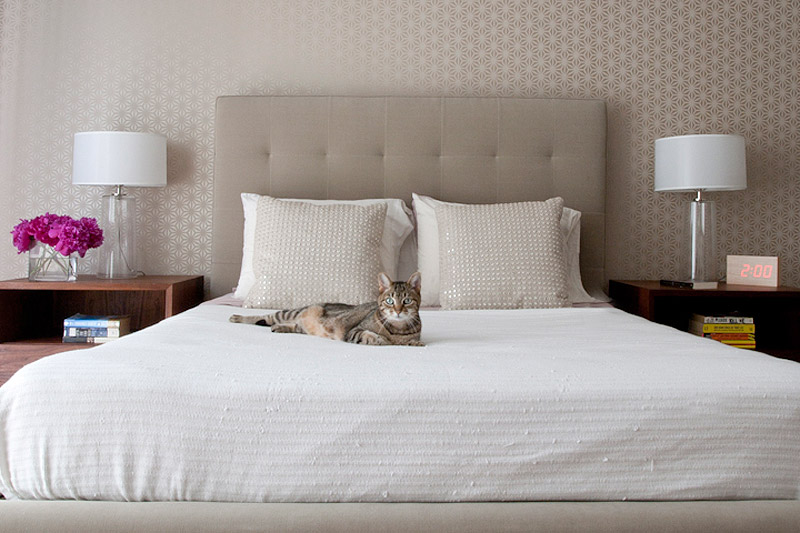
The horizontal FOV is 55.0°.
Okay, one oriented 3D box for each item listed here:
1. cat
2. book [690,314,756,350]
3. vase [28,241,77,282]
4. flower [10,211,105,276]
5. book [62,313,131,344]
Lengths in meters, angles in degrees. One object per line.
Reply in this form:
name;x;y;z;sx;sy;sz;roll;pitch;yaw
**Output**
cat;-0.210;0.166;3.136;0.544;0.235;0.294;-1;-3;25
book;1.713;0.305;4.047;0.240;0.157;0.244;0;-1;26
vase;-1.806;-0.014;3.974;0.203;0.225;0.208;-1;-4;12
flower;-1.786;-0.116;3.993;0.354;0.276;0.361;0;2;-4
book;-1.553;0.310;3.899;0.197;0.112;0.198;1;0;-11
